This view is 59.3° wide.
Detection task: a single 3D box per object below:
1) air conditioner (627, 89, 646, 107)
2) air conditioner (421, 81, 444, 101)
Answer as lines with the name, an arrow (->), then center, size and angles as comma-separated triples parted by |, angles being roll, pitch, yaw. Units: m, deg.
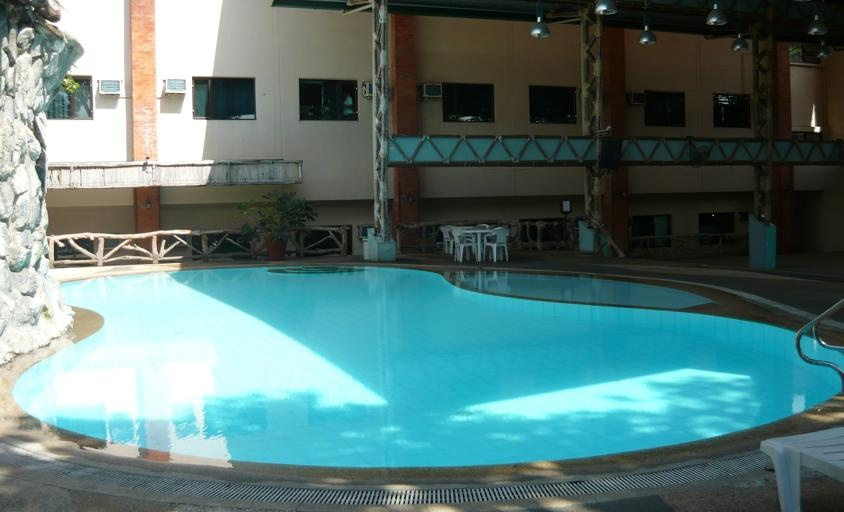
air conditioner -> 8.539, -6.297, 29.520 | 0.584, 0.572, 0.413 | 2, 3, -2
air conditioner -> 0.361, -6.072, 27.212 | 0.758, 0.536, 0.350 | -8, 16, -24
